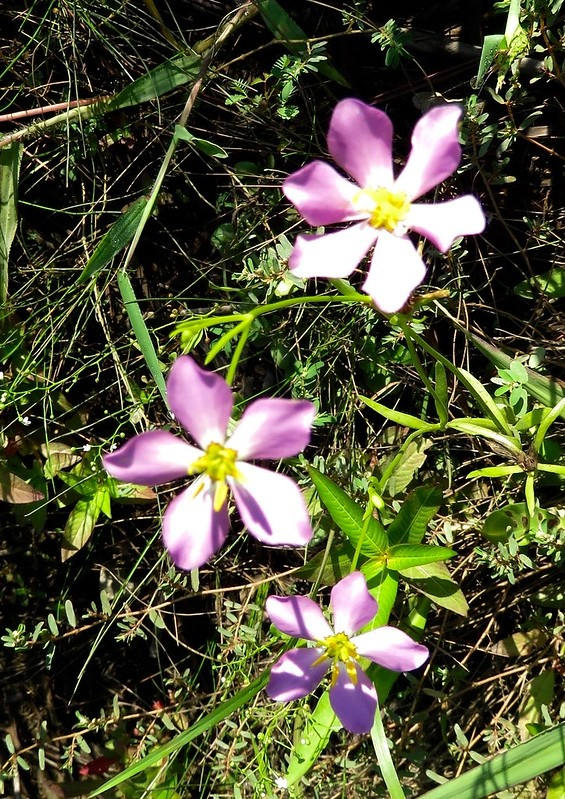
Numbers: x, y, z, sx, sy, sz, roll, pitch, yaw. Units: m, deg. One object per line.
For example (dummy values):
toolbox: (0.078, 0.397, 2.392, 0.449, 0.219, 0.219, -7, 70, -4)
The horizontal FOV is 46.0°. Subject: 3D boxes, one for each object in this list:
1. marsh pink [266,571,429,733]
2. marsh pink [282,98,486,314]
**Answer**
marsh pink: (0.084, 0.480, 1.250, 0.250, 0.305, 0.266, -39, 56, -19)
marsh pink: (0.151, -0.294, 0.971, 0.280, 0.168, 0.330, 23, 59, 26)
